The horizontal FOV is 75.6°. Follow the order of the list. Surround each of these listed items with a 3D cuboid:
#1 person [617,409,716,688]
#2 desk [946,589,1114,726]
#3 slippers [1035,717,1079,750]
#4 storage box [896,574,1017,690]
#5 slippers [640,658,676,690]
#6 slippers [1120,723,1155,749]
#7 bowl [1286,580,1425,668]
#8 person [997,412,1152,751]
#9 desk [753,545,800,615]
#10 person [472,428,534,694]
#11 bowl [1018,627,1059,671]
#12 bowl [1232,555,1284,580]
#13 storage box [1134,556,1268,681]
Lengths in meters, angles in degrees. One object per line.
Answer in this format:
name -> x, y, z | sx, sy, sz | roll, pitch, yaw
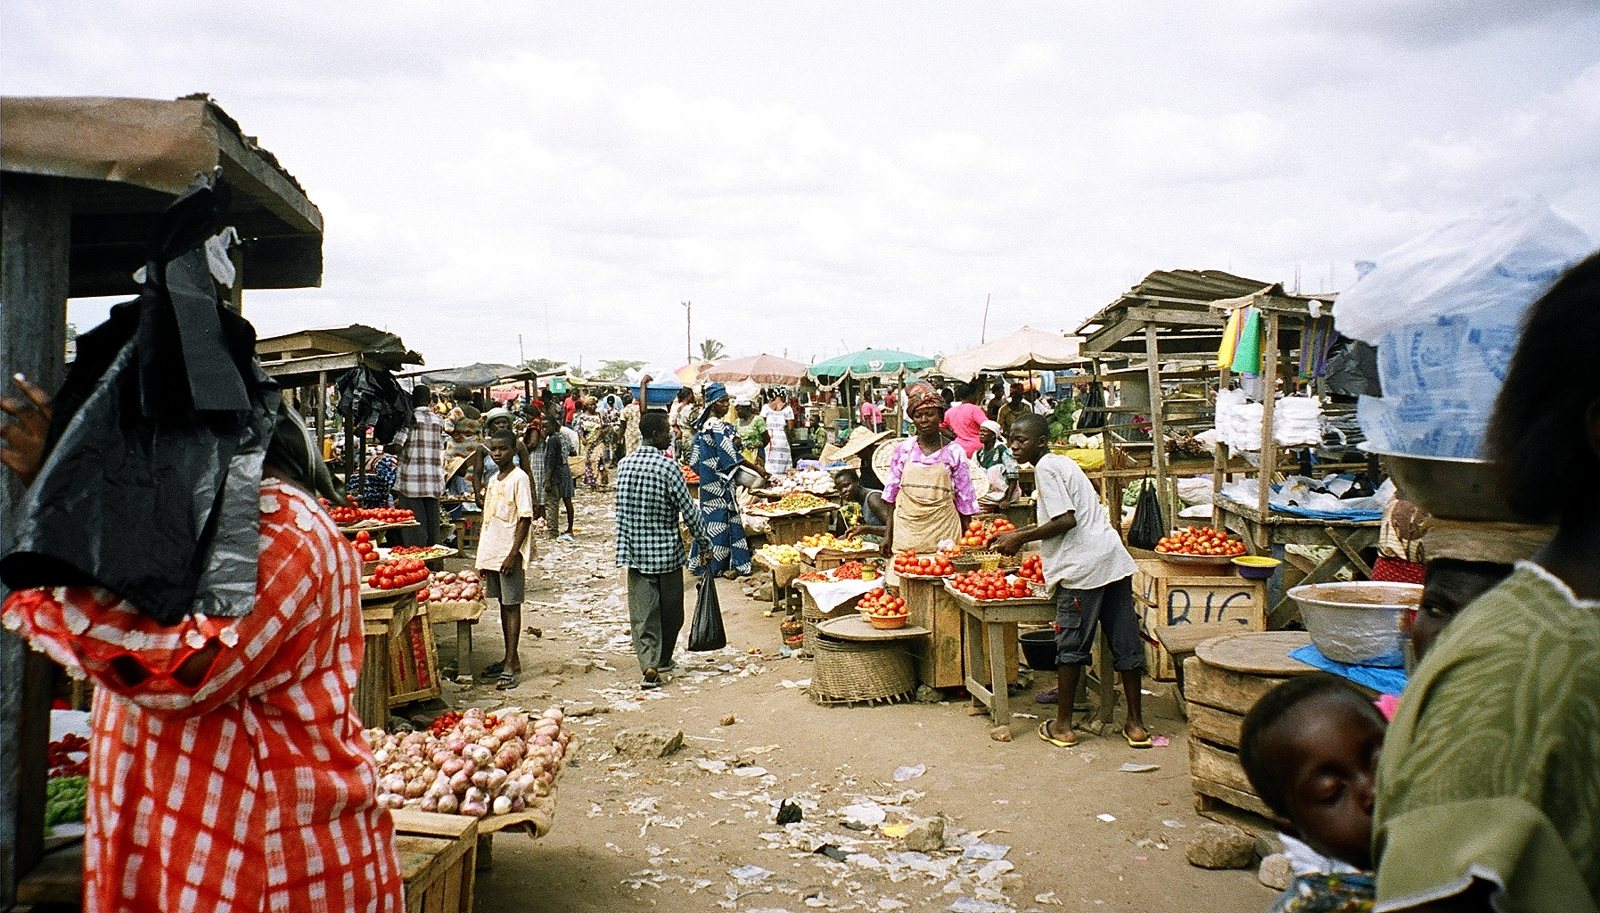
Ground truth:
person -> -1.354, 0.926, 10.161 | 0.926, 2.514, 1.042 | -1, 0, 8
desk -> 2.133, 1.667, 8.549 | 1.888, 1.029, 1.612 | -4, -6, 13
slippers -> 1.992, 2.121, 7.930 | 0.164, 0.087, 0.269 | 0, 3, -18
storage box -> 1.637, 1.523, 9.243 | 1.115, 1.207, 1.341 | -2, 2, -13
slippers -> -1.415, 2.149, 10.234 | 0.159, 0.166, 0.441 | 2, 6, 7
slippers -> 2.568, 2.097, 7.758 | 0.143, 0.102, 0.264 | -1, -9, -2
bowl -> 3.108, 0.914, 5.723 | 0.673, 0.264, 0.625 | -7, 8, 1
person -> 2.097, 0.841, 8.204 | 1.327, 2.319, 0.945 | 0, 0, -10
desk -> -0.282, 1.577, 13.078 | 0.598, 0.556, 0.916 | -3, 8, -15
person -> -2.958, 0.948, 10.240 | 0.617, 2.248, 0.829 | 1, -1, 22
bowl -> 2.260, 1.814, 9.772 | 0.460, 0.192, 0.413 | 1, 6, 1
bowl -> 3.837, 0.953, 8.658 | 0.347, 0.173, 0.343 | -3, 7, 0
storage box -> 3.383, 1.277, 8.619 | 1.048, 1.032, 1.299 | 1, 0, -1
